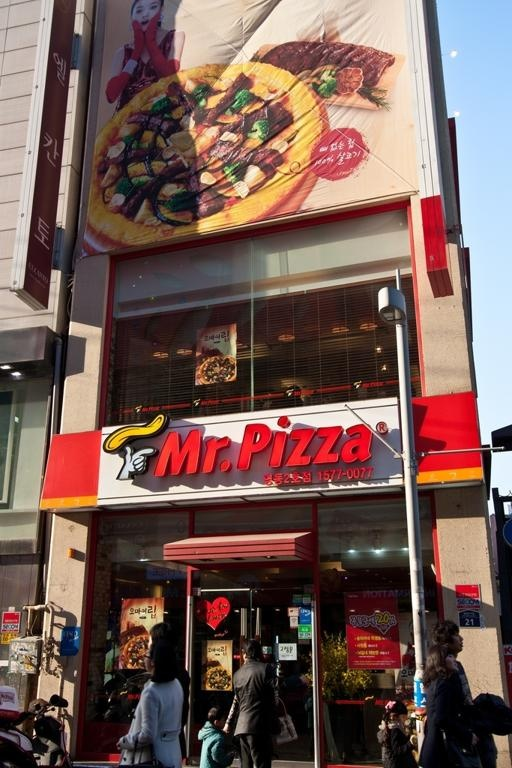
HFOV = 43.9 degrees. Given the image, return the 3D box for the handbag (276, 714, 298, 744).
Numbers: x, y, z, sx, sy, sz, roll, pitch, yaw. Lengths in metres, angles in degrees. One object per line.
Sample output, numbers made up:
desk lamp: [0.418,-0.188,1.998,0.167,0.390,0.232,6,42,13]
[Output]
handbag: [0.416,4.681,8.581,0.346,0.390,0.140,7,-33,-30]
